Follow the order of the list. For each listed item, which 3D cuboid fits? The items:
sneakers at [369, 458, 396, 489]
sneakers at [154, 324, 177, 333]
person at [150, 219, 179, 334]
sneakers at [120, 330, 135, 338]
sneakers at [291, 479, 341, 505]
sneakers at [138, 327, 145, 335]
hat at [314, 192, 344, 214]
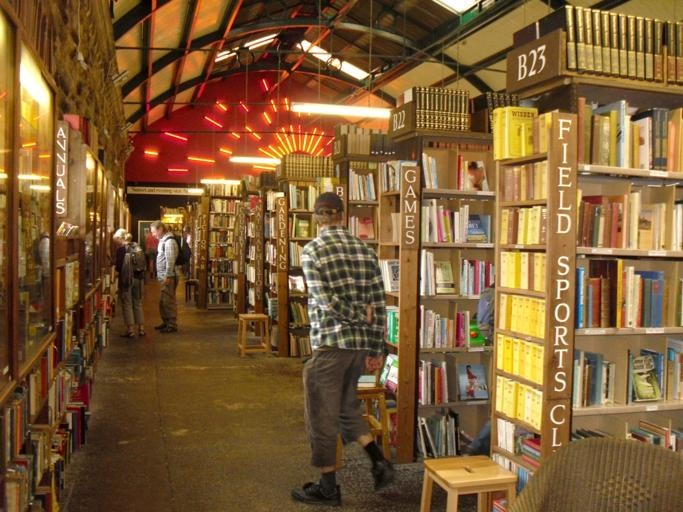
[{"bbox_3d":[0.301,1.692,4.759,0.176,0.244,0.216,-2,8,-11],"label":"sneakers"},{"bbox_3d":[-3.285,1.330,11.369,0.479,0.213,0.150,-4,-6,37],"label":"sneakers"},{"bbox_3d":[-3.158,0.380,11.035,0.437,2.020,1.114,0,4,-16],"label":"person"},{"bbox_3d":[-3.704,1.335,10.555,0.266,0.129,0.118,10,8,26],"label":"sneakers"},{"bbox_3d":[-0.186,1.814,4.745,0.395,0.192,0.163,3,-4,20],"label":"sneakers"},{"bbox_3d":[-3.521,1.313,10.759,0.116,0.096,0.352,-1,2,-11],"label":"sneakers"},{"bbox_3d":[-0.084,-0.429,4.743,0.211,0.161,0.350,4,9,6],"label":"hat"}]
